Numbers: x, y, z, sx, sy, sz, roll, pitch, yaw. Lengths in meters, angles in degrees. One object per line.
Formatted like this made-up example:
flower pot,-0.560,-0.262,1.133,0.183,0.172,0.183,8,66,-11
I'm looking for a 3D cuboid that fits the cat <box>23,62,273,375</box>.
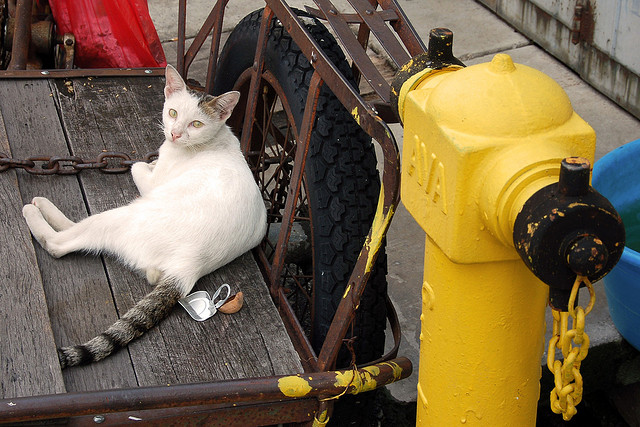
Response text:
cat,-0.729,-0.034,2.866,0.979,0.734,1.444,18,50,1
